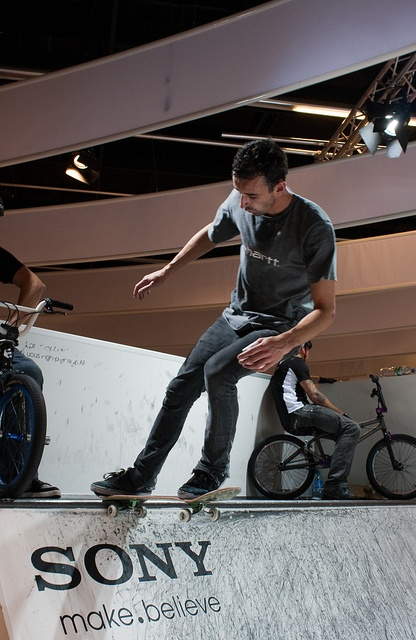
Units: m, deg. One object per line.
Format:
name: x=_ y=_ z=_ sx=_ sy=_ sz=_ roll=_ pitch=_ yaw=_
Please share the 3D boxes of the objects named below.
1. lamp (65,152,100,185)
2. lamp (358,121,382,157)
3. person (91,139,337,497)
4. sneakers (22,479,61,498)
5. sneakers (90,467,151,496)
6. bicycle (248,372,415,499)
lamp: x=-2.204 y=-2.680 z=7.677 sx=0.456 sy=0.590 sz=0.551 roll=20 pitch=11 yaw=-43
lamp: x=1.862 y=-2.080 z=4.936 sx=0.267 sy=0.327 sz=0.121 roll=8 pitch=4 yaw=15
person: x=0.065 y=0.053 z=2.180 sx=1.011 sy=1.778 sz=0.733 roll=15 pitch=1 yaw=34
sneakers: x=-0.923 y=0.879 z=2.278 sx=0.259 sy=0.116 sz=0.091 roll=-7 pitch=-24 yaw=29
sneakers: x=-0.367 y=0.728 z=1.896 sx=0.270 sy=0.130 sz=0.119 roll=8 pitch=-39 yaw=-6
bicycle: x=1.464 y=1.487 z=5.322 sx=2.251 sy=1.578 sz=1.159 roll=-2 pitch=-8 yaw=7
